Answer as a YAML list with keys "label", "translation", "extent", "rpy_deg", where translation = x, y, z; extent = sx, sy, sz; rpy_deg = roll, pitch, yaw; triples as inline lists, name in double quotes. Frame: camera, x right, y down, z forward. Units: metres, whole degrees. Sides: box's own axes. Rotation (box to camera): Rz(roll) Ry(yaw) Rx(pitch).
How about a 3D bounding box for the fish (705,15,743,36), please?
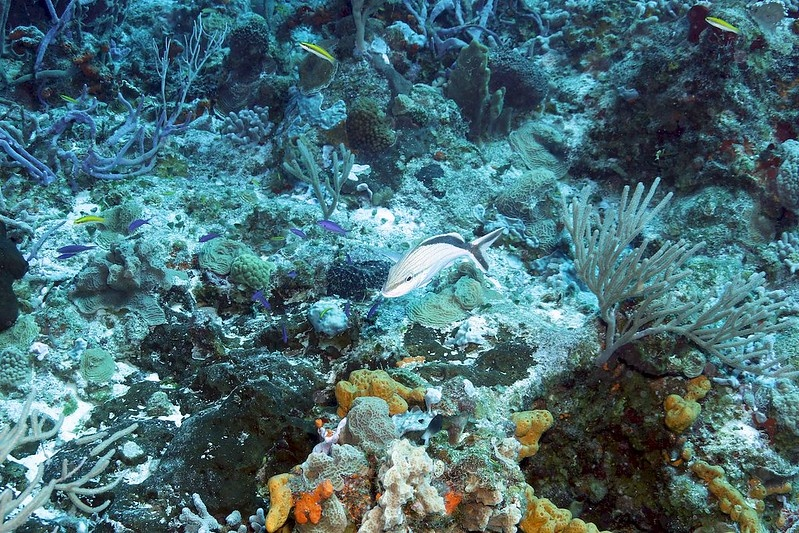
- label: "fish"
  translation: [4.898, -3.615, 11.161]
  extent: [0.591, 0.164, 0.236]
  rpy_deg: [17, 5, 4]
